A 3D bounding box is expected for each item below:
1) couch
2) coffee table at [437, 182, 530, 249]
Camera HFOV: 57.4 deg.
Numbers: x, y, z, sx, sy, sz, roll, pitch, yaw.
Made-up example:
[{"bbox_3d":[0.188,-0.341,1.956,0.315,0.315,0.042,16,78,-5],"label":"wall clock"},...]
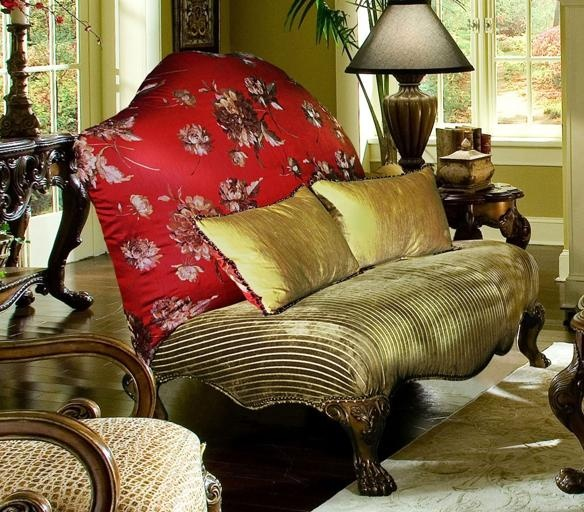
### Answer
[{"bbox_3d":[0.179,0.033,2.364,1.313,1.048,1.621,12,17,37],"label":"couch"},{"bbox_3d":[1.042,-0.221,3.049,0.480,0.338,0.391,-6,18,-2],"label":"coffee table"}]
